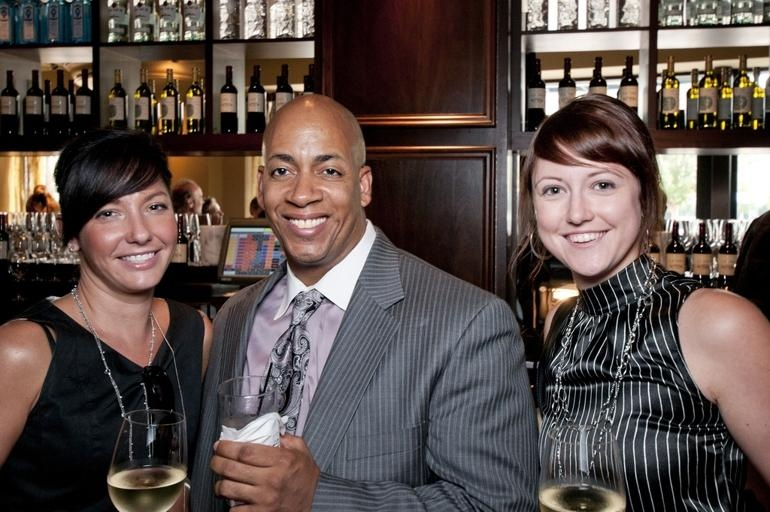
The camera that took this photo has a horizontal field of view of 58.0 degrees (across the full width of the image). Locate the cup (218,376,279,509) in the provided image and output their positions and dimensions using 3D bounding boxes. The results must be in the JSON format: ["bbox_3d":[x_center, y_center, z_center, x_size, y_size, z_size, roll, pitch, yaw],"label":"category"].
[{"bbox_3d":[-0.408,0.512,2.085,0.197,0.339,0.206,-1,14,0],"label":"cup"}]
